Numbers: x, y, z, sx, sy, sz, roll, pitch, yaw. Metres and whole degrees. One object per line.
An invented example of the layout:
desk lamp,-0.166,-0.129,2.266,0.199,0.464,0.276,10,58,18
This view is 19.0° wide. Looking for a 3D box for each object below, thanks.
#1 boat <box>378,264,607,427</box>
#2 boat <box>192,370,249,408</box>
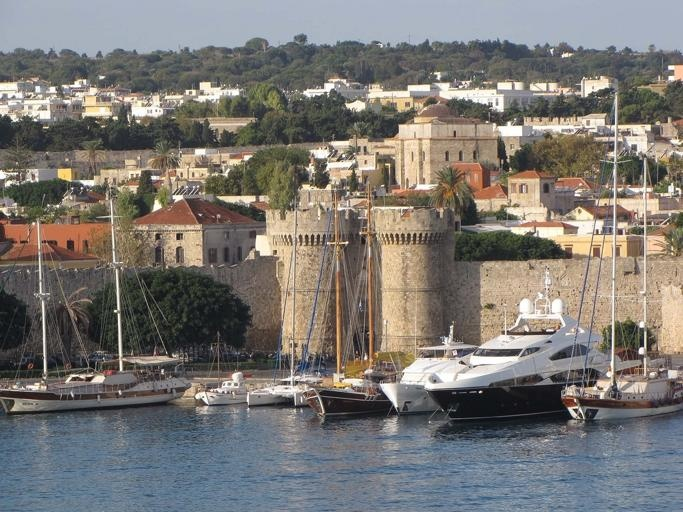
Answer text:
boat,5.450,5.403,93.212,14.154,8.469,4.374,-6,8,-42
boat,-5.667,6.420,97.304,2.322,1.580,0.837,-3,-2,-4
